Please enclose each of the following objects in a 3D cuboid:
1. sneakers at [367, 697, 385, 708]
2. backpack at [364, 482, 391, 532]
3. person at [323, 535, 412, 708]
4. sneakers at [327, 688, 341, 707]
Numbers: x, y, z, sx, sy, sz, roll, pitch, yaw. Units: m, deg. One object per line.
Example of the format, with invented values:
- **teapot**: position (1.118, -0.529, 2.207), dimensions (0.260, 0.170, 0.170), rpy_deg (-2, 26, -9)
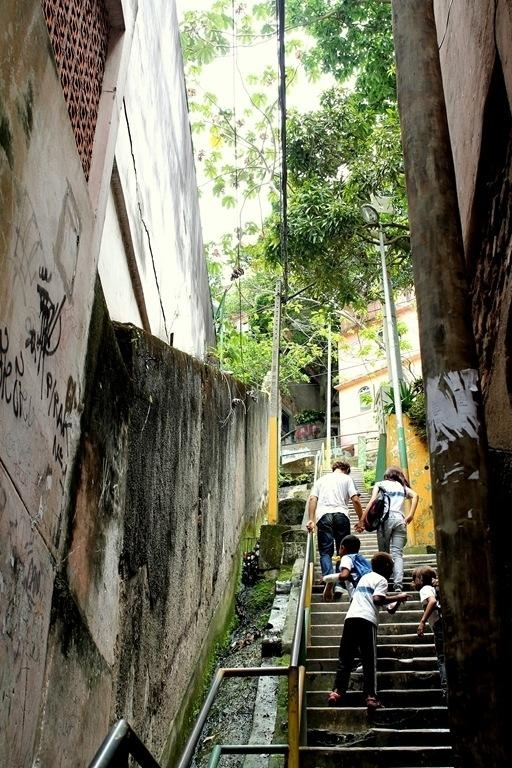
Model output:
- **sneakers**: position (0.822, 2.258, 3.555), dimensions (0.106, 0.078, 0.099), rpy_deg (-8, -22, 15)
- **backpack**: position (1.369, 1.443, 5.804), dimensions (0.232, 0.459, 0.317), rpy_deg (10, -22, -31)
- **person**: position (0.961, 2.099, 4.396), dimensions (0.604, 1.845, 0.671), rpy_deg (-3, -45, 20)
- **sneakers**: position (0.588, 2.353, 3.781), dimensions (0.092, 0.124, 0.278), rpy_deg (-5, -23, 9)
